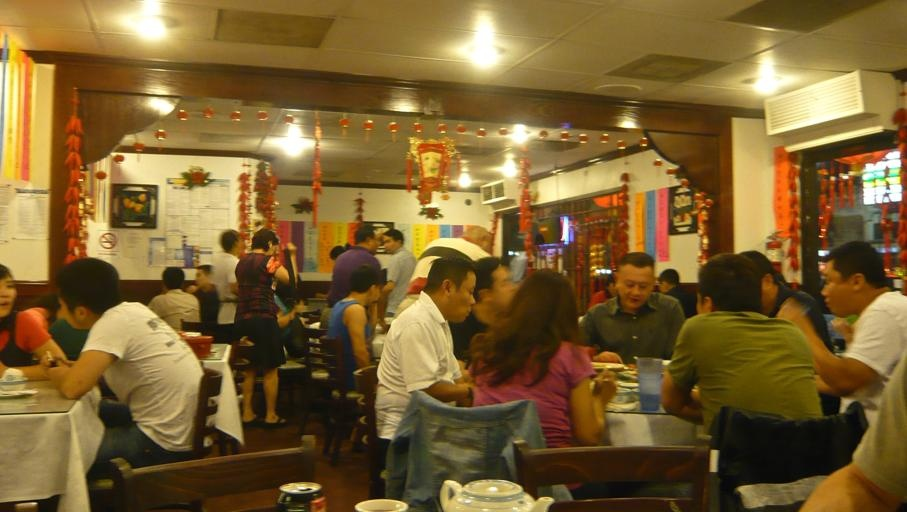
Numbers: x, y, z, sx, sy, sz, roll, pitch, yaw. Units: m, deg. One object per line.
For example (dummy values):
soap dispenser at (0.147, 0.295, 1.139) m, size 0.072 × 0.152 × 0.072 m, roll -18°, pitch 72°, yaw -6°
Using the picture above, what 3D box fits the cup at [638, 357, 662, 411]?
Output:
cup at (1.306, 0.856, 5.012) m, size 0.161 × 0.341 × 0.171 m, roll 0°, pitch 1°, yaw 0°

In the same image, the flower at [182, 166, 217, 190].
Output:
flower at (-3.464, -1.056, 10.258) m, size 0.385 × 0.307 × 0.098 m, roll 0°, pitch 1°, yaw -24°
